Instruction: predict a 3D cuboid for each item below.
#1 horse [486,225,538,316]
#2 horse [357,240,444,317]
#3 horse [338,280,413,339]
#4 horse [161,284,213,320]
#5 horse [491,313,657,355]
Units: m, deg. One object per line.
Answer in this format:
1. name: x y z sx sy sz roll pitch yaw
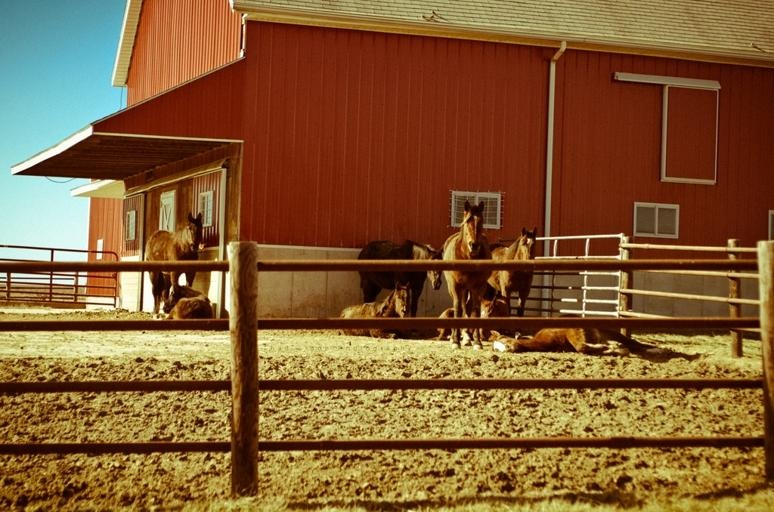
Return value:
1. horse: 2.538 0.653 17.318 0.660 1.976 2.771 5 -7 -8
2. horse: 0.250 0.614 18.320 0.747 1.876 2.718 -8 11 -39
3. horse: -0.246 1.253 17.508 0.633 1.421 2.023 13 -13 -41
4. horse: -4.222 1.053 17.638 0.921 0.662 1.974 -1 3 -16
5. horse: 2.988 1.303 13.361 1.701 0.500 0.979 4 -2 -19
